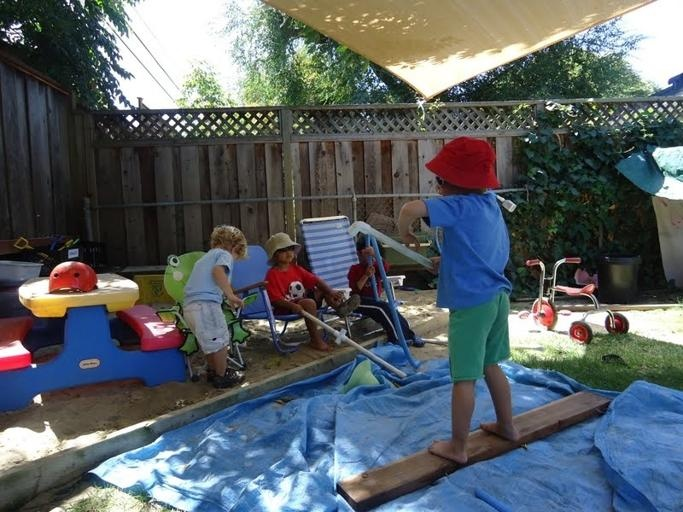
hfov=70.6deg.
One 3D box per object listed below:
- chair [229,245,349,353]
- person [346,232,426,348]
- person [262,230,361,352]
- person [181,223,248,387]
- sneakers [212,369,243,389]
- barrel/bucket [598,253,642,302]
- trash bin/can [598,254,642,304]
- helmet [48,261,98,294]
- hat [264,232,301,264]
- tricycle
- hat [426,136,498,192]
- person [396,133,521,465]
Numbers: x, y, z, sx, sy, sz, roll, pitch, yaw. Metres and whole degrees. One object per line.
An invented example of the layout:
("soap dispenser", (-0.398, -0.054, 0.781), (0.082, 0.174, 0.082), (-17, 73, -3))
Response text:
("chair", (-0.467, 0.363, 4.670), (1.023, 1.197, 0.998), (-12, -8, 15))
("person", (0.420, 0.303, 4.787), (0.835, 1.034, 0.625), (9, -2, 25))
("person", (-0.350, 0.338, 4.564), (0.700, 1.033, 0.951), (-5, 13, -13))
("person", (-0.955, 0.376, 3.878), (0.550, 1.175, 0.553), (-14, 17, -43))
("sneakers", (-0.877, 0.952, 3.720), (0.198, 0.095, 0.120), (-5, 13, -9))
("barrel/bucket", (3.808, 0.305, 6.891), (0.627, 0.627, 0.606), (1, 4, 0))
("trash bin/can", (3.908, 0.303, 6.876), (0.665, 0.663, 0.647), (-4, 4, -9))
("helmet", (-1.972, 0.144, 3.520), (0.207, 0.153, 0.294), (1, 6, -1))
("hat", (-0.605, -0.123, 4.702), (0.305, 0.159, 0.251), (-33, -6, 21))
("tricycle", (2.440, 0.451, 5.272), (0.826, 0.774, 1.060), (-2, 5, -25))
("hat", (0.749, -0.590, 2.859), (0.472, 0.223, 0.385), (19, 33, 17))
("person", (0.724, 0.232, 2.816), (0.716, 1.813, 0.517), (-10, 15, -31))
